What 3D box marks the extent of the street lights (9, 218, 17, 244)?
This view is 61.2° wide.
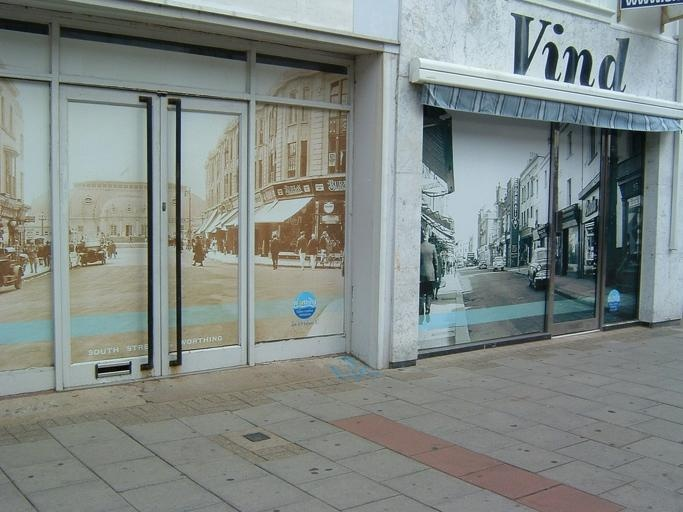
[{"bbox_3d":[-3.557,-0.254,6.275,0.038,0.253,0.077,11,12,37],"label":"street lights"}]
